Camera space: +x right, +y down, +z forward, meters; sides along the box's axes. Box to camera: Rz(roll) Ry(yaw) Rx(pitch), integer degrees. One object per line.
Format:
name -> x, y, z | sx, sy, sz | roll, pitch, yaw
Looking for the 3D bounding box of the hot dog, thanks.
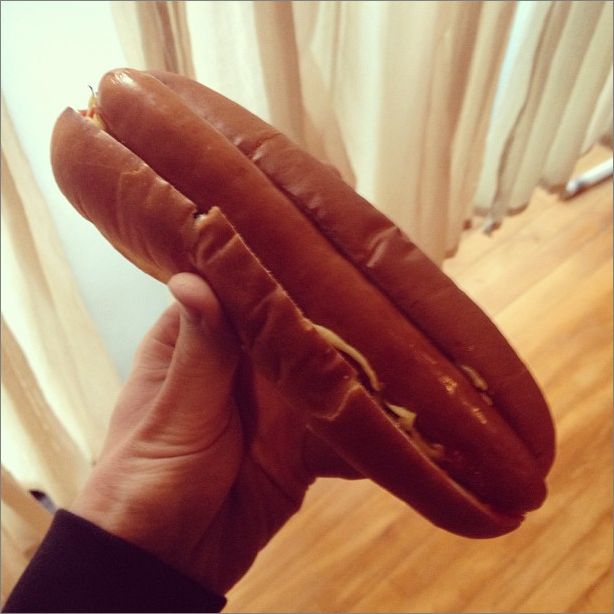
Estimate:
hot dog -> 0.037, -0.042, 1.102 | 0.298, 0.451, 0.981 | -39, 84, -23
